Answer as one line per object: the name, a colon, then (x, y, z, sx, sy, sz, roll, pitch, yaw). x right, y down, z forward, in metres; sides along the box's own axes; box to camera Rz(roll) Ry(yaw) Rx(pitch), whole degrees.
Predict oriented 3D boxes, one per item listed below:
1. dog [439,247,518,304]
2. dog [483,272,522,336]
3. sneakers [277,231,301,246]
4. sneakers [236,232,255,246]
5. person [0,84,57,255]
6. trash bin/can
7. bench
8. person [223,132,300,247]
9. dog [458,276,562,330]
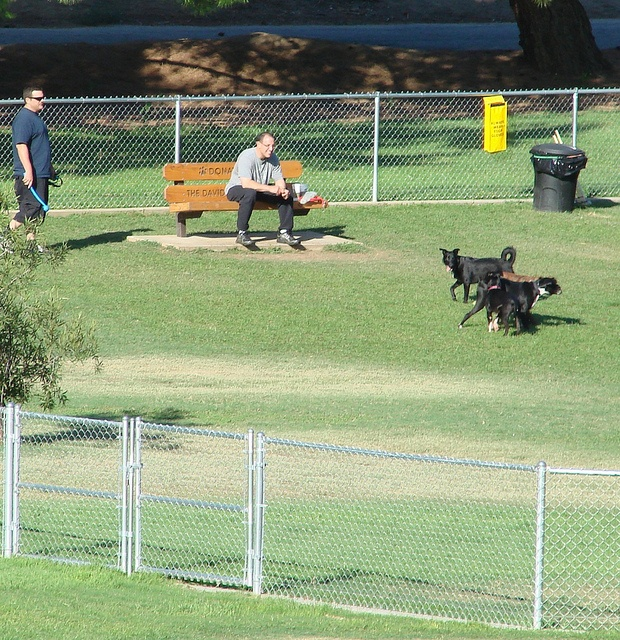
dog: (2.215, -0.568, 23.036, 1.209, 0.872, 0.435, 0, 6, 14)
dog: (2.221, -0.176, 21.994, 0.407, 0.684, 0.672, -2, 8, 6)
sneakers: (-0.300, -1.078, 25.395, 0.325, 0.172, 0.132, 16, 28, 31)
sneakers: (-0.837, -1.037, 25.180, 0.284, 0.128, 0.114, 31, 38, 32)
person: (-3.505, -1.997, 23.677, 0.517, 1.676, 0.699, -3, 7, -6)
trash bin/can: (3.534, -1.997, 27.478, 0.819, 1.065, 0.948, 2, 12, 14)
bench: (-1.089, -1.541, 25.713, 1.845, 0.950, 0.827, -3, -4, -5)
person: (-0.649, -1.653, 25.067, 0.946, 1.564, 0.942, -3, 7, -3)
dog: (2.323, -0.169, 22.095, 1.135, 0.733, 0.344, 6, -2, 9)
